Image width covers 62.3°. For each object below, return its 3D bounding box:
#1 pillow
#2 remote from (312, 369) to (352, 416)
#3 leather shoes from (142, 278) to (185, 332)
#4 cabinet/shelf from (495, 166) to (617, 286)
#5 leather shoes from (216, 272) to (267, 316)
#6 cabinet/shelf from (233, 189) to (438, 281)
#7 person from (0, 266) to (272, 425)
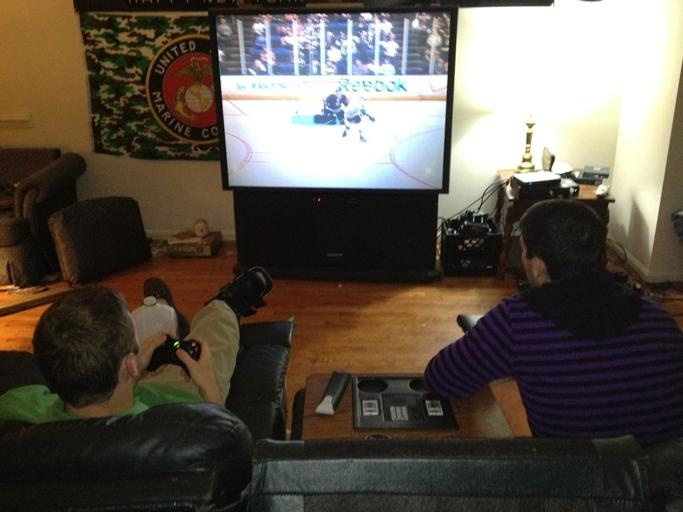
[{"bbox_3d":[-1.827,-0.143,4.320,0.366,0.622,0.707,1,17,40],"label":"pillow"},{"bbox_3d":[-0.028,0.479,2.016,0.080,0.035,0.220,6,31,18],"label":"remote"},{"bbox_3d":[-0.816,0.212,2.677,0.145,0.199,0.491,-17,19,-21],"label":"leather shoes"},{"bbox_3d":[1.509,-0.215,4.396,0.888,0.842,0.899,1,28,6],"label":"cabinet/shelf"},{"bbox_3d":[-0.462,0.190,2.659,0.305,0.103,0.128,-33,18,9],"label":"leather shoes"},{"bbox_3d":[-0.038,-0.053,4.255,1.492,0.736,0.594,1,-26,0],"label":"cabinet/shelf"},{"bbox_3d":[-0.636,0.256,1.915,0.408,0.433,0.794,6,30,11],"label":"person"}]
